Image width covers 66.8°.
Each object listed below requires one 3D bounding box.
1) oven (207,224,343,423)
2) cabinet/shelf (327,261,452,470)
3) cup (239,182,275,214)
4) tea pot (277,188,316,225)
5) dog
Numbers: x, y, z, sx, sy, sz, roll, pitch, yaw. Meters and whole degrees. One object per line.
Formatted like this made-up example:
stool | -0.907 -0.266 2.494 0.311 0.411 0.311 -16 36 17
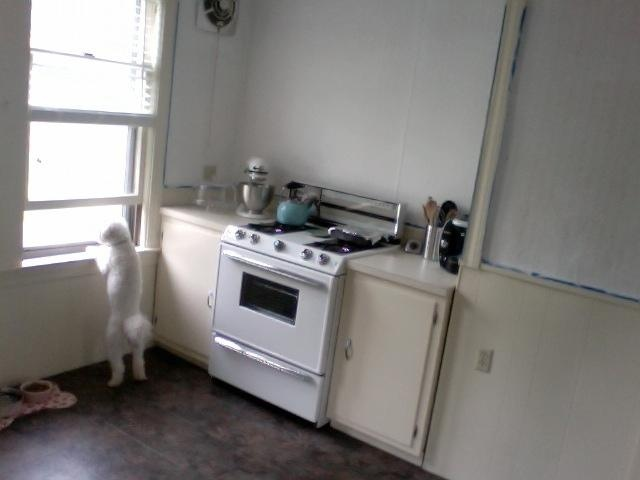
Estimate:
oven | -0.195 0.502 3.378 0.943 1.124 0.745 15 12 33
cabinet/shelf | 0.544 0.728 3.174 0.659 1.168 0.774 12 12 30
cup | -0.500 -0.319 3.704 0.254 0.229 0.291 6 9 -8
tea pot | -0.154 -0.226 3.483 0.181 0.211 0.288 11 10 38
dog | -1.314 0.409 3.203 0.328 1.059 0.438 -5 16 -35
